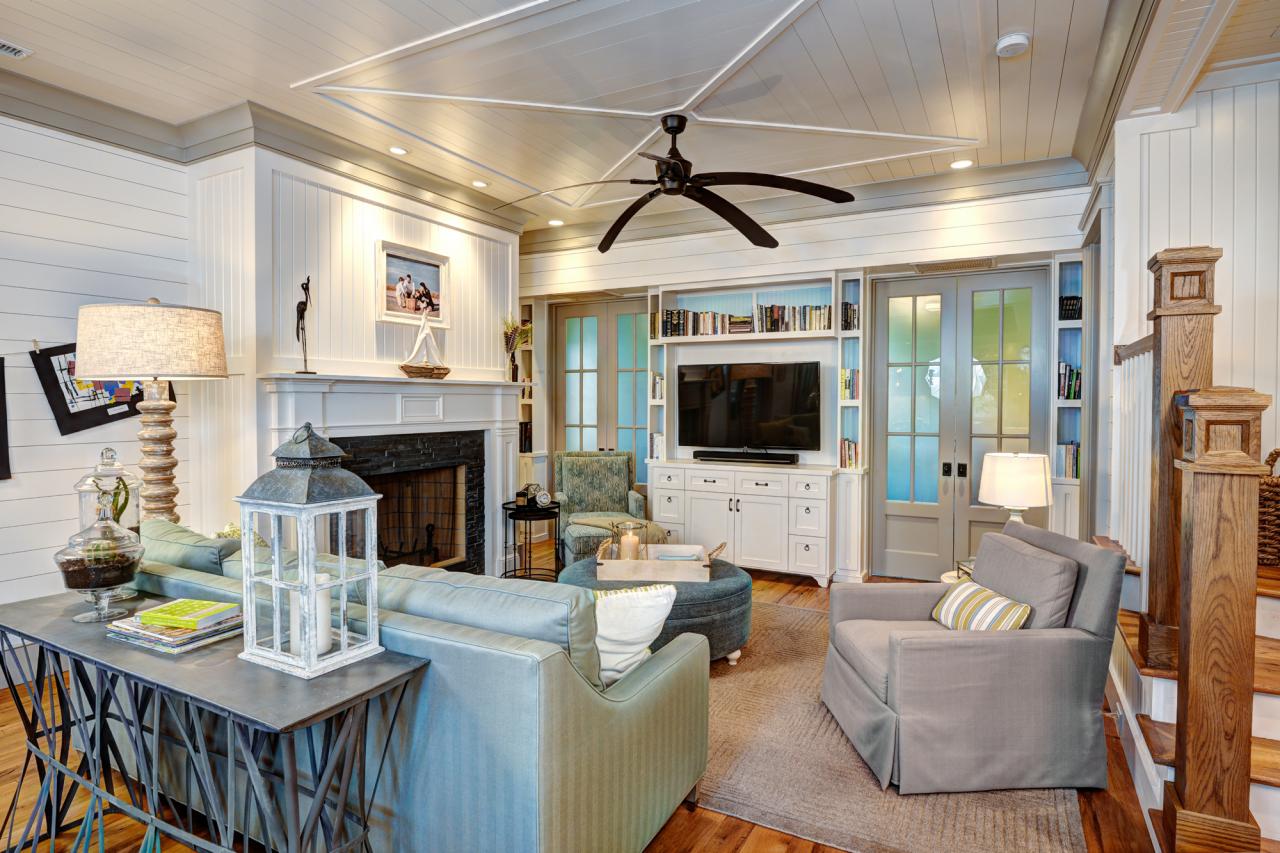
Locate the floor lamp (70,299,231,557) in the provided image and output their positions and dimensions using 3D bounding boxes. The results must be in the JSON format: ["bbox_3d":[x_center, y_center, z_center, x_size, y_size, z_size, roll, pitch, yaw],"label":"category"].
[{"bbox_3d":[-2.977,-0.058,5.361,1.220,1.909,1.182,-1,-1,-33],"label":"floor lamp"}]

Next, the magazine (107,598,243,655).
[{"bbox_3d":[-1.849,0.816,3.383,0.289,0.063,0.272,4,4,24],"label":"magazine"}]

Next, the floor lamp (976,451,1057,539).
[{"bbox_3d":[2.282,0.386,4.995,0.459,0.460,0.447,1,-17,28],"label":"floor lamp"}]

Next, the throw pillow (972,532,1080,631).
[{"bbox_3d":[1.967,0.798,4.157,0.162,0.283,0.462,2,2,-13],"label":"throw pillow"}]

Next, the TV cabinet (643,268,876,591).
[{"bbox_3d":[0.986,0.011,6.982,1.755,2.493,0.597,0,3,28],"label":"TV cabinet"}]

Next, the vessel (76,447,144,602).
[{"bbox_3d":[-2.499,0.437,3.864,0.245,0.672,0.635,-3,3,-33],"label":"vessel"}]

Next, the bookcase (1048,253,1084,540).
[{"bbox_3d":[3.111,-0.269,5.923,0.138,1.620,0.319,-13,17,-16],"label":"bookcase"}]

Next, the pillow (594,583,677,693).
[{"bbox_3d":[-0.052,0.897,3.518,0.369,0.397,0.166,-3,3,-40],"label":"pillow"}]

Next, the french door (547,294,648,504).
[{"bbox_3d":[-0.346,-0.265,8.050,1.136,1.860,0.067,2,4,25],"label":"french door"}]
